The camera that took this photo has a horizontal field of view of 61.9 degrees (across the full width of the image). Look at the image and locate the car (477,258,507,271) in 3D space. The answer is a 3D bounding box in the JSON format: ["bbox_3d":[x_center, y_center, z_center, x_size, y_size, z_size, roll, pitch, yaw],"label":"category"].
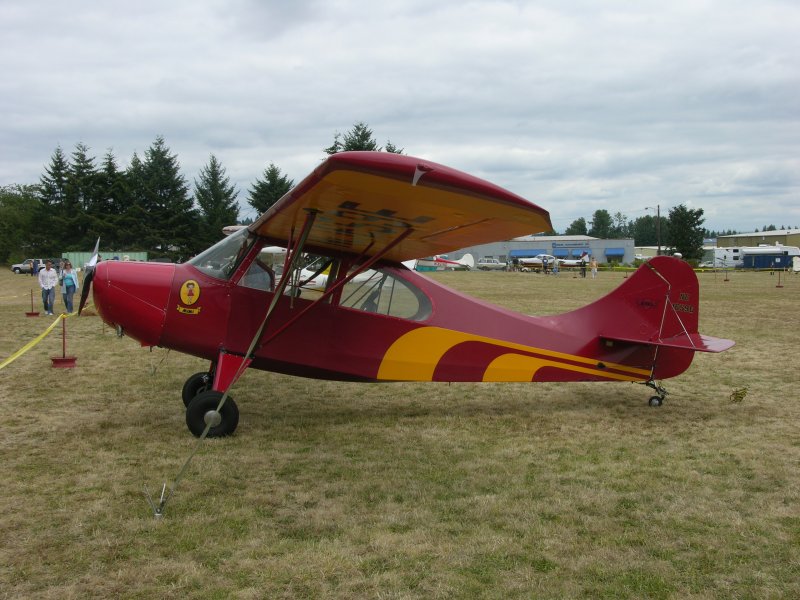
[{"bbox_3d":[9.377,-3.451,67.467,2.696,0.974,1.497,-2,11,7],"label":"car"}]

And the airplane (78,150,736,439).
[{"bbox_3d":[0.343,-0.039,8.083,7.495,3.169,4.312,-4,11,-24],"label":"airplane"}]

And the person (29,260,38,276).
[{"bbox_3d":[-28.965,-2.527,52.760,0.680,1.141,3.248,-6,11,-30],"label":"person"}]
